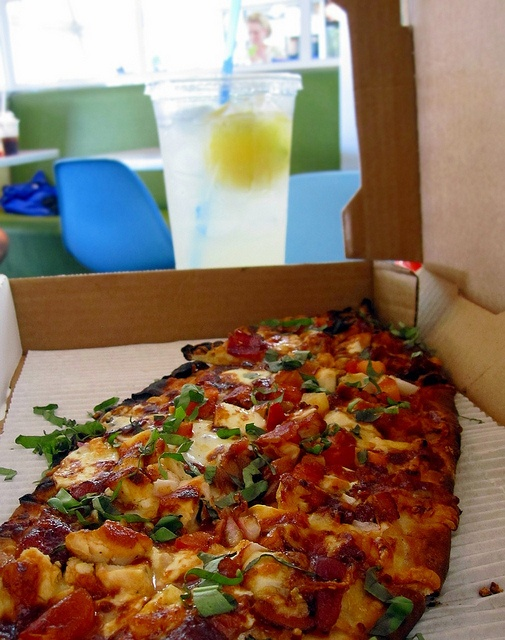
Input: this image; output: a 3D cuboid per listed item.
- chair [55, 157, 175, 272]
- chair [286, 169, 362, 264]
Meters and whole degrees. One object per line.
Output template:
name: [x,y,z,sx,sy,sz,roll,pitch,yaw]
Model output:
chair: [-0.541,-0.433,2.327,0.526,0.474,0.415,6,22,20]
chair: [0.194,-0.414,2.165,0.269,0.376,0.268,9,19,19]
